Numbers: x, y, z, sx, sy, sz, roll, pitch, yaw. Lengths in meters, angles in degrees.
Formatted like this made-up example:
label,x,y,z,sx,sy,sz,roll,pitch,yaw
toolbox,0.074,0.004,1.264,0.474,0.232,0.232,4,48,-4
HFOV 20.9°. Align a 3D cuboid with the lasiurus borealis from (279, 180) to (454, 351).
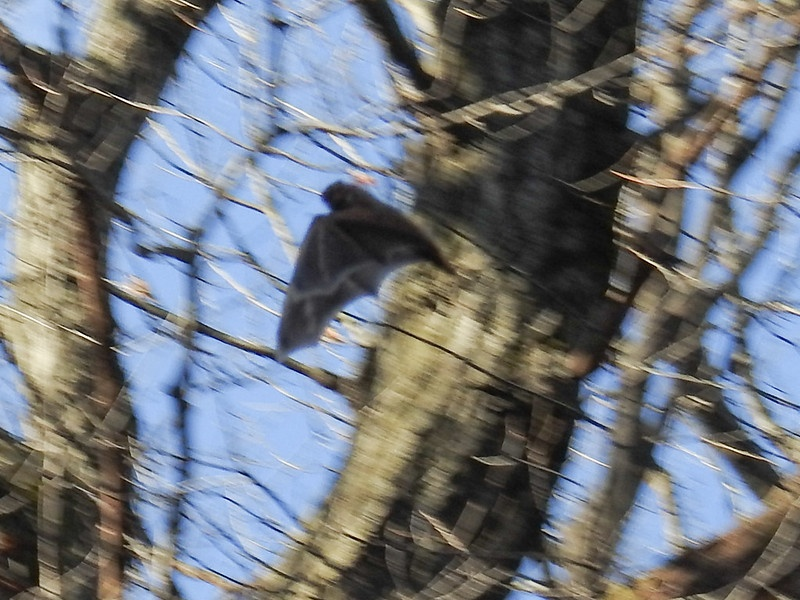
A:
label,x,y,z,sx,sy,sz,roll,pitch,yaw
lasiurus borealis,-0.232,-0.132,8.099,0.719,0.443,0.453,-29,-63,26
